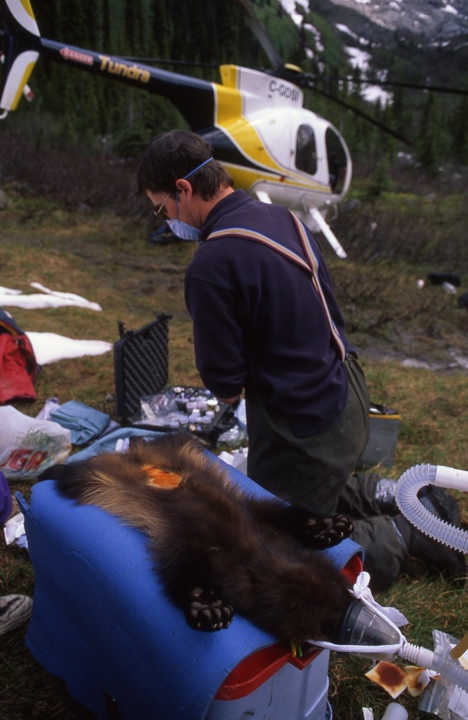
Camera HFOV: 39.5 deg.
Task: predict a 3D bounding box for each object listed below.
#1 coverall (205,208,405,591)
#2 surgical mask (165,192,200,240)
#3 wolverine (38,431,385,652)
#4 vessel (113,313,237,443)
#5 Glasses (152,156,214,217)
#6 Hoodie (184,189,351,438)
[{"bbox_3d":[0.456,0.108,3.064,0.962,1.490,1.183,9,25,13],"label":"coverall"},{"bbox_3d":[-0.210,-0.665,3.082,0.098,0.162,0.155,-23,19,-22],"label":"surgical mask"},{"bbox_3d":[-0.129,0.587,2.421,0.810,0.393,1.285,-13,39,-42],"label":"wolverine"},{"bbox_3d":[-0.450,0.263,5.035,0.943,1.069,1.118,6,22,14],"label":"vessel"},{"bbox_3d":[-0.201,-0.742,2.796,0.085,0.273,0.199,30,1,-24],"label":"Glasses"},{"bbox_3d":[0.154,-0.183,2.713,0.693,0.940,0.359,3,16,-2],"label":"Hoodie"}]
